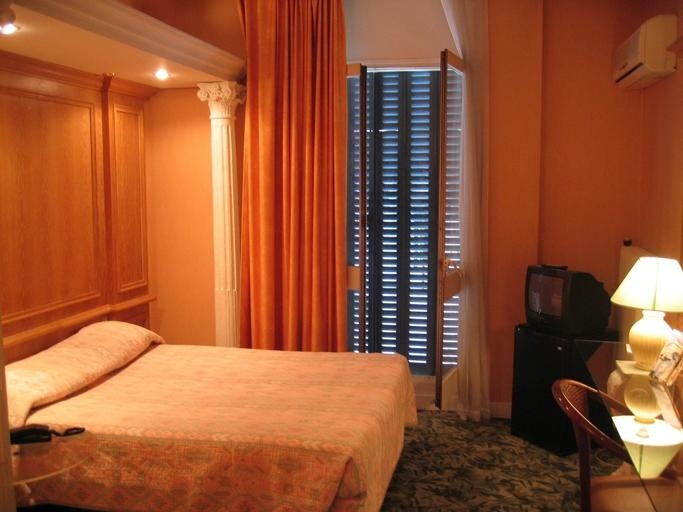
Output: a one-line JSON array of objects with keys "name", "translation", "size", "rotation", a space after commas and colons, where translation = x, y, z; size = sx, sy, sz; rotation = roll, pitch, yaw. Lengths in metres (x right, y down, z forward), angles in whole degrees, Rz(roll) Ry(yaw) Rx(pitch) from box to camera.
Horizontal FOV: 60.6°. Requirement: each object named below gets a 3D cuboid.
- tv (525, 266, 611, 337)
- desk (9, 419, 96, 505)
[{"name": "tv", "translation": [1.624, 0.269, 4.325], "size": [0.513, 0.520, 0.491], "rotation": [-1, 3, -25]}, {"name": "desk", "translation": [-1.478, 1.068, 2.982], "size": [0.351, 0.410, 0.590], "rotation": [-7, 14, -29]}]
